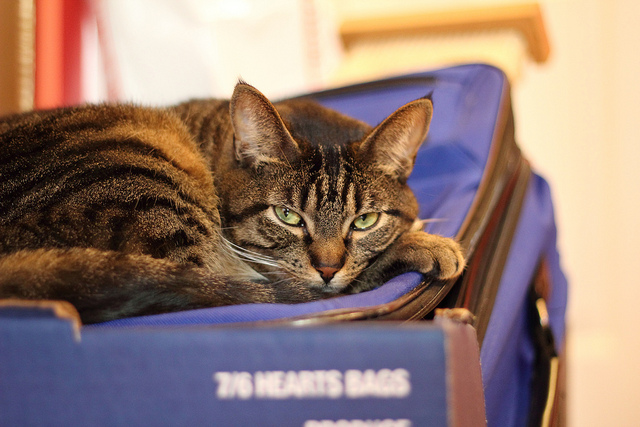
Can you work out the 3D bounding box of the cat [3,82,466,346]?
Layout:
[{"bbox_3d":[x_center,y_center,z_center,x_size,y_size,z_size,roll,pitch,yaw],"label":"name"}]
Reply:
[{"bbox_3d":[-0.317,0.055,2.143,1.040,0.410,0.797,-4,1,16],"label":"cat"}]
